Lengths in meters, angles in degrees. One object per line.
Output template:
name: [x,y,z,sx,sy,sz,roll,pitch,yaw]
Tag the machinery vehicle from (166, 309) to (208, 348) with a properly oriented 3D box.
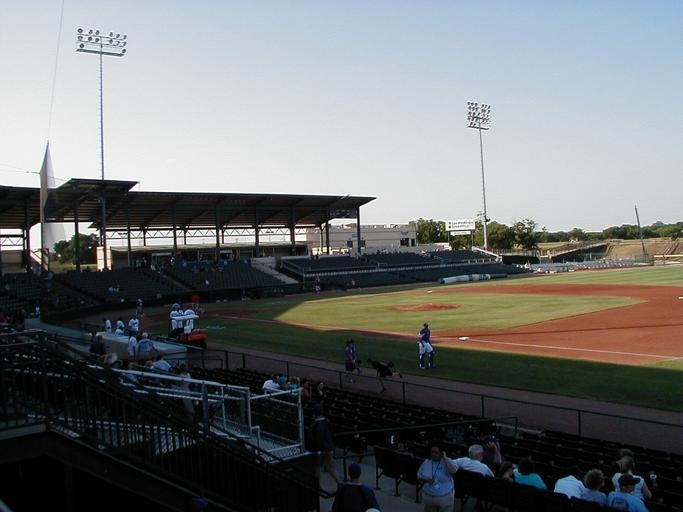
machinery vehicle: [-6.801,3.170,32.692,1.870,1.403,1.224,11,15,36]
